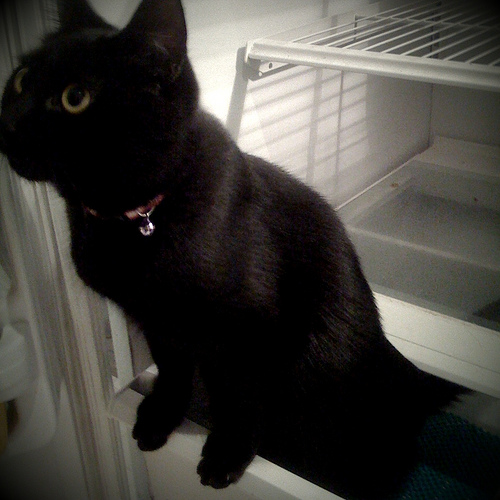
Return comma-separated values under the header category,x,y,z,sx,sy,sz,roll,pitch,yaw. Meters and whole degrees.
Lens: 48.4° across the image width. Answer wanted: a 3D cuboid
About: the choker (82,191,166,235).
category,x,y,z,sx,sy,sz,roll,pitch,yaw
choker,-0.189,-0.043,0.918,0.070,0.097,0.028,-15,60,-3
